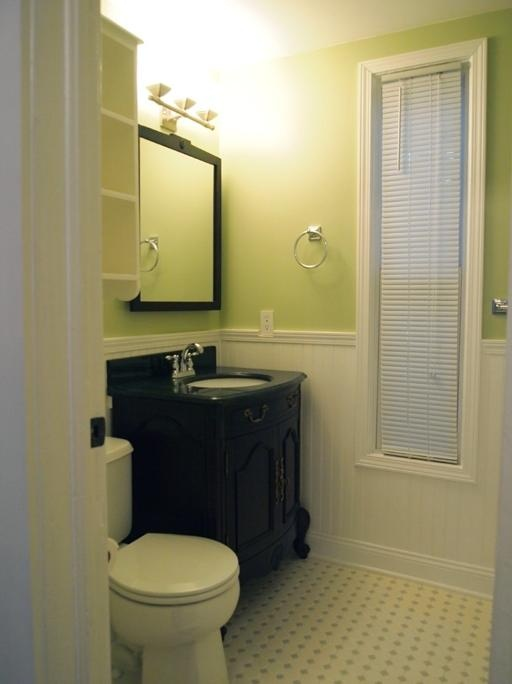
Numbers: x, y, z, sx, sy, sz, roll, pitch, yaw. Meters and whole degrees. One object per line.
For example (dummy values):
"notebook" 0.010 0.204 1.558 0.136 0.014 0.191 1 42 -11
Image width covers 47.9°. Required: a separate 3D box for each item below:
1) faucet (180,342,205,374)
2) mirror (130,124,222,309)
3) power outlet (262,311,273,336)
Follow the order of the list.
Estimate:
"faucet" -0.251 0.069 2.390 0.077 0.141 0.121 -1 -1 -45
"mirror" -0.331 -0.505 2.305 0.032 0.945 0.668 1 3 23
"power outlet" 0.048 -0.083 2.628 0.069 0.112 0.017 1 3 23
